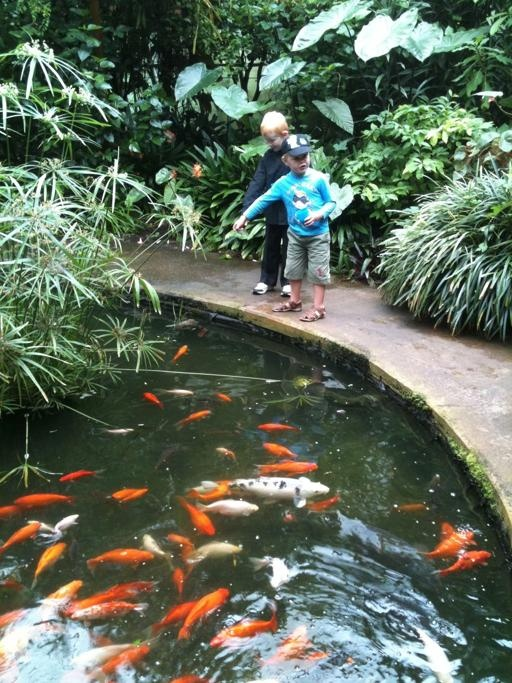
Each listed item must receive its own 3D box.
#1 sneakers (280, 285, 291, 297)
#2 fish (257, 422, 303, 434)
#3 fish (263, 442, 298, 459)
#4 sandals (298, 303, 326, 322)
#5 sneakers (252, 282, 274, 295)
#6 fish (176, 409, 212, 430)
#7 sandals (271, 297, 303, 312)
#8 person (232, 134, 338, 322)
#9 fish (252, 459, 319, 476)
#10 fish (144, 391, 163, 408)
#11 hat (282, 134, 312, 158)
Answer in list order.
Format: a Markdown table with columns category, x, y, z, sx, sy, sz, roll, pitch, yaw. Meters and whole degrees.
| category | x | y | z | sx | sy | sz | roll | pitch | yaw |
| --- | --- | --- | --- | --- | --- | --- | --- | --- | --- |
| sneakers | 0.222 | -0.379 | 4.906 | 0.119 | 0.110 | 0.258 | 0 | 4 | 2 |
| fish | 0.104 | 0.416 | 3.257 | 0.272 | 0.057 | 0.100 | 0 | 16 | 3 |
| fish | 0.107 | 0.490 | 3.036 | 0.052 | 0.063 | 0.162 | 46 | -18 | -32 |
| sandals | 0.375 | -0.192 | 4.371 | 0.171 | 0.061 | 0.079 | -10 | 12 | -33 |
| sneakers | 0.045 | -0.402 | 5.028 | 0.066 | 0.065 | 0.175 | -1 | 5 | 18 |
| fish | -0.311 | 0.385 | 3.351 | 0.194 | 0.054 | 0.075 | -18 | 50 | -20 |
| sandals | 0.212 | -0.247 | 4.528 | 0.220 | 0.077 | 0.076 | 1 | 12 | -4 |
| person | 0.227 | -0.733 | 4.284 | 0.576 | 1.161 | 0.424 | 15 | 22 | 27 |
| fish | 0.136 | 0.543 | 2.850 | 0.263 | 0.049 | 0.098 | 5 | 18 | 1 |
| fish | -0.549 | 0.310 | 3.519 | 0.072 | 0.043 | 0.152 | 14 | 14 | -45 |
| hat | 0.264 | -1.190 | 4.070 | 0.196 | 0.129 | 0.240 | -8 | 30 | -8 |
